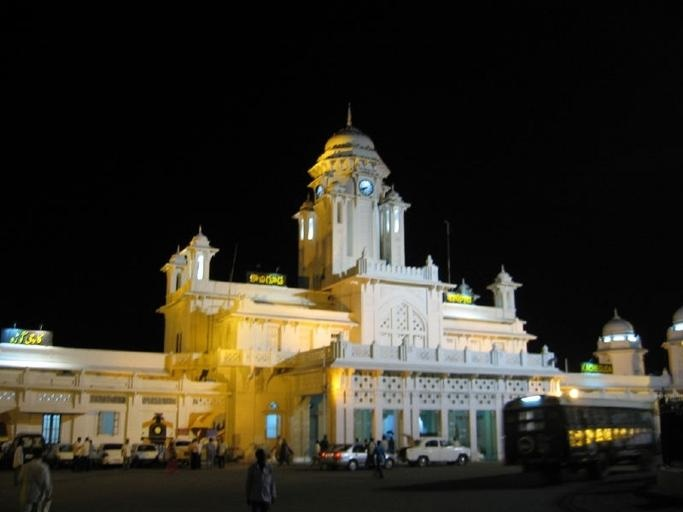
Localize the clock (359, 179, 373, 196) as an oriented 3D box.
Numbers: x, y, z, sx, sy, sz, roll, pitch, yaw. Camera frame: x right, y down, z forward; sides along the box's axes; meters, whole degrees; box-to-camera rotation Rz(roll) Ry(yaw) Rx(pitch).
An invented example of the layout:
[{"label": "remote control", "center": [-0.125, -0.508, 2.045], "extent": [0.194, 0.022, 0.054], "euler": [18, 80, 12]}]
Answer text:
[{"label": "clock", "center": [2.090, -5.557, 62.420], "extent": [1.187, 1.302, 0.272], "euler": [2, -3, -38]}]

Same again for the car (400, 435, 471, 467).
[{"label": "car", "center": [5.089, 10.928, 42.186], "extent": [2.908, 1.276, 1.744], "euler": [1, -10, -18]}]

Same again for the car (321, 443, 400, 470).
[{"label": "car", "center": [0.206, 10.496, 39.364], "extent": [2.330, 1.347, 1.390], "euler": [0, -4, 1]}]
